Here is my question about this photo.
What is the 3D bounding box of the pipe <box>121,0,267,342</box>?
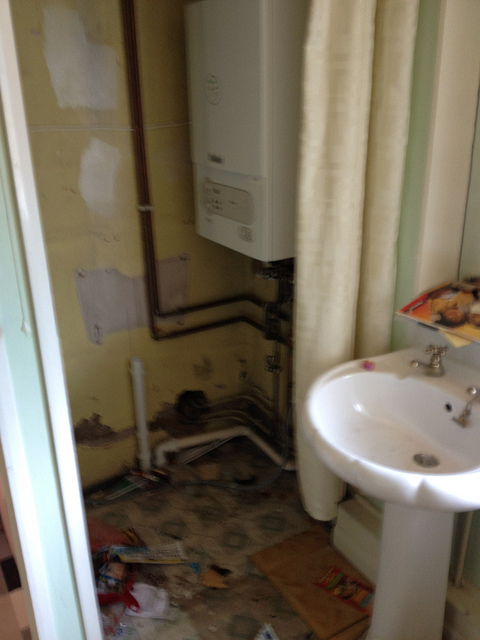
[{"bbox_3d":[-0.220,-0.499,1.971,0.411,1.203,0.062,-21,27,-36],"label":"pipe"}]

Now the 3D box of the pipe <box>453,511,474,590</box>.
[{"bbox_3d":[0.594,0.608,1.396,0.035,0.271,0.028,-2,21,7],"label":"pipe"}]

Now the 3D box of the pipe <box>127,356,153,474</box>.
[{"bbox_3d":[-0.402,0.388,2.123,0.084,0.519,0.058,-12,22,-19],"label":"pipe"}]

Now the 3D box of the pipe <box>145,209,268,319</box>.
[{"bbox_3d":[-0.178,-0.270,2.161,0.410,0.490,0.031,-9,-15,-1],"label":"pipe"}]

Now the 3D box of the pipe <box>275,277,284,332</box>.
[{"bbox_3d":[0.151,-0.064,2.051,0.038,0.236,0.094,-5,21,-2],"label":"pipe"}]
